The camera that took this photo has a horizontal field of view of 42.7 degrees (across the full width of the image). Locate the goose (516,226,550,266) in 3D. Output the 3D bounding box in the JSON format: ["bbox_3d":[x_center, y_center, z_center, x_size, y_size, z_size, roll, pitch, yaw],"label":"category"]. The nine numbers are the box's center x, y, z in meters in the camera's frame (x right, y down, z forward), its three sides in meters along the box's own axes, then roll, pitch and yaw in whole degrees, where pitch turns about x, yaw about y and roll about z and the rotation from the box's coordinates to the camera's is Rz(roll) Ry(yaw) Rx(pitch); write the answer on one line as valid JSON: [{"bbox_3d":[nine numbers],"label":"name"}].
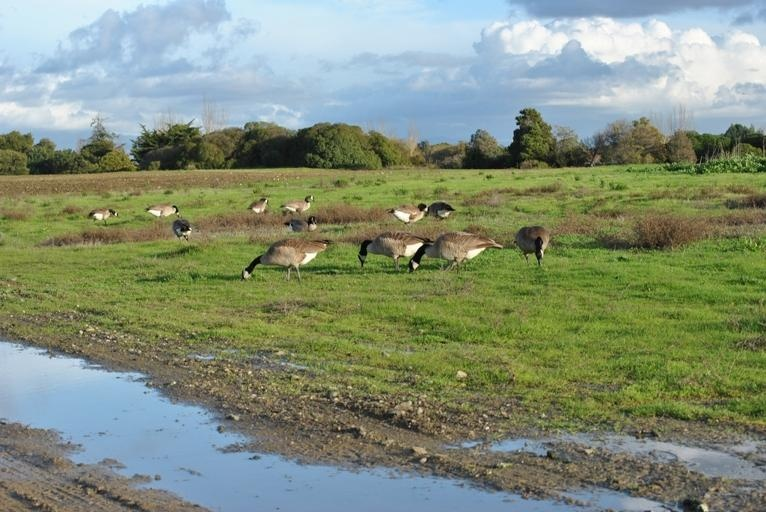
[{"bbox_3d":[4.894,-0.268,32.347,0.996,1.329,2.201,0,16,-5],"label":"goose"}]

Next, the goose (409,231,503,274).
[{"bbox_3d":[2.291,-0.203,31.162,3.026,1.352,1.064,-8,-6,5],"label":"goose"}]

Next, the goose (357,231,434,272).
[{"bbox_3d":[-0.050,-0.192,32.479,3.226,1.290,0.973,-6,1,35],"label":"goose"}]

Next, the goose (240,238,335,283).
[{"bbox_3d":[-3.084,0.174,30.755,2.510,1.355,0.766,1,13,11],"label":"goose"}]
